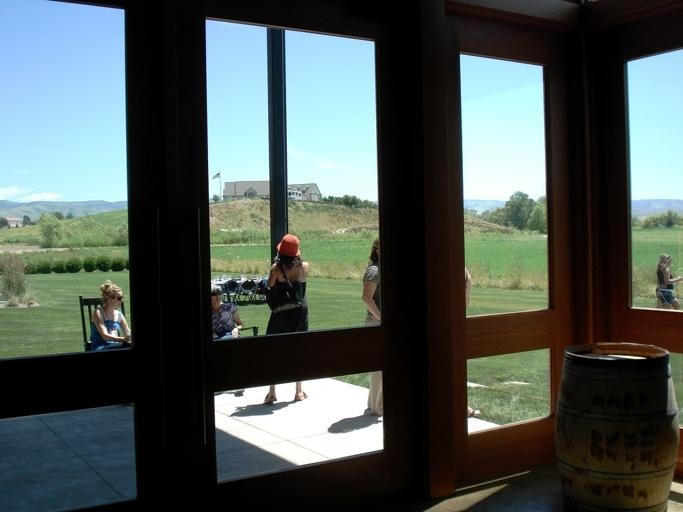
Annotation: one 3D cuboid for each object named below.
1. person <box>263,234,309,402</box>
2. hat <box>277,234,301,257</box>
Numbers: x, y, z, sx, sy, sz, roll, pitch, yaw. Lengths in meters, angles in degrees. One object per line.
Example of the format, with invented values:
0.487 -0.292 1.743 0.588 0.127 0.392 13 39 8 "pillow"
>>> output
-0.283 0.332 2.516 0.248 0.819 0.284 10 -27 -27 "person"
-0.254 -0.048 2.438 0.093 0.058 0.106 -19 42 -38 "hat"
